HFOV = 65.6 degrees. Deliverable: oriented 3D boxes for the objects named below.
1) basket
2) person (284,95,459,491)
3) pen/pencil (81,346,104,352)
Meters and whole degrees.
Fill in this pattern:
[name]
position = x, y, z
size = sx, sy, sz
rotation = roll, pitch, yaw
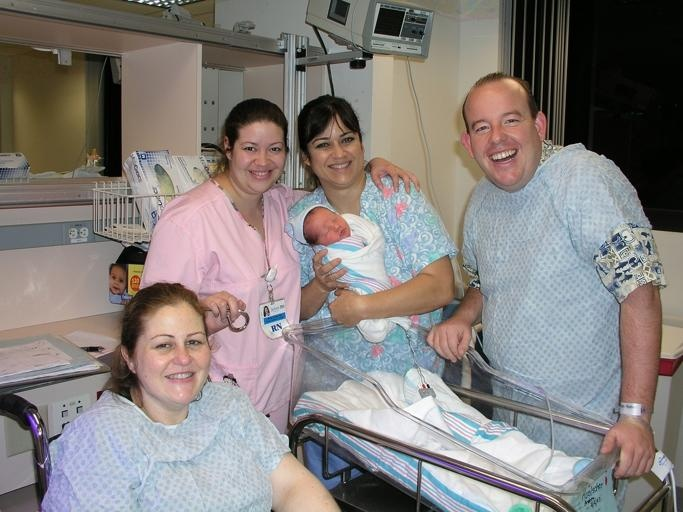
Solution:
[basket]
position = -0.931, -0.204, 2.252
size = 0.316, 0.167, 0.334
rotation = 4, 16, -5
[person]
position = 0.070, 0.050, 1.854
size = 0.547, 1.268, 0.409
rotation = -6, -29, -9
[pen/pencil]
position = -1.004, 0.369, 2.127
size = 0.065, 0.018, 0.014
rotation = 1, -9, -24
